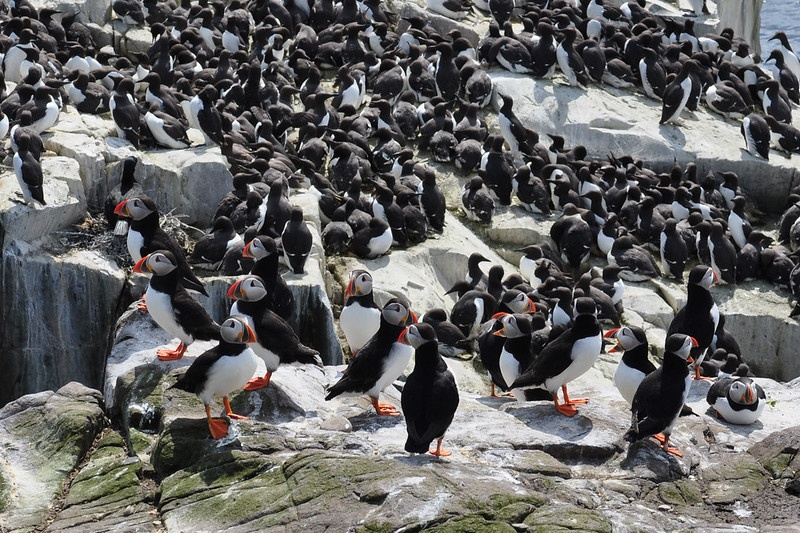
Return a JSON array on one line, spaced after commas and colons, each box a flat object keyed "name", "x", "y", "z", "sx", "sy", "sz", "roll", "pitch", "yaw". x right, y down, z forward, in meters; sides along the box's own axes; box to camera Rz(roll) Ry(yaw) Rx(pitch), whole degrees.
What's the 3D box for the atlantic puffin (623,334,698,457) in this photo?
[{"name": "atlantic puffin", "x": 3.784, "y": 1.856, "z": 14.653, "sx": 0.919, "sy": 1.700, "sz": 0.456, "roll": 0, "pitch": 9, "yaw": -18}]
